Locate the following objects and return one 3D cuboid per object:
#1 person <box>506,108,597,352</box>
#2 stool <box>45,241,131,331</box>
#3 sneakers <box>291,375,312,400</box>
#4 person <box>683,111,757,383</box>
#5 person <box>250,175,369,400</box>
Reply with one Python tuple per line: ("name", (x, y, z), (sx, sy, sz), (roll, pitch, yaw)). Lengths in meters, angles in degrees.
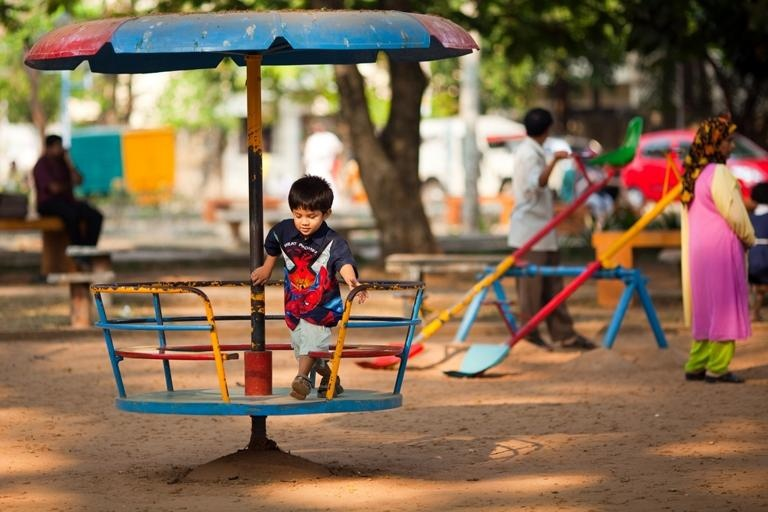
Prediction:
("person", (1.785, -0.258, 18.236), (0.756, 2.753, 0.884), (-13, 19, -37))
("stool", (-3.843, 0.456, 20.486), (0.786, 1.161, 1.767), (-4, 14, -10))
("sneakers", (-0.742, 1.192, 14.436), (0.132, 0.229, 0.104), (17, 23, -2))
("person", (3.470, -0.058, 16.775), (0.737, 2.741, 0.786), (1, 15, 8))
("person", (-0.692, 0.289, 14.554), (0.816, 1.979, 0.923), (-9, 17, -28))
